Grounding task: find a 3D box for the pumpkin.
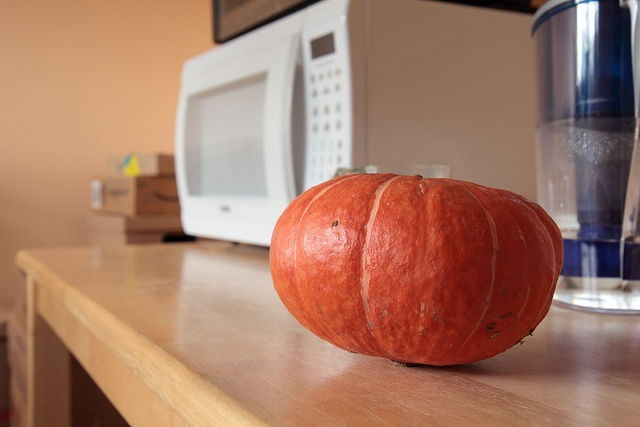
[{"bbox_3d":[0.083,0.053,0.474,0.265,0.171,0.252,5,2,-34],"label":"pumpkin"}]
